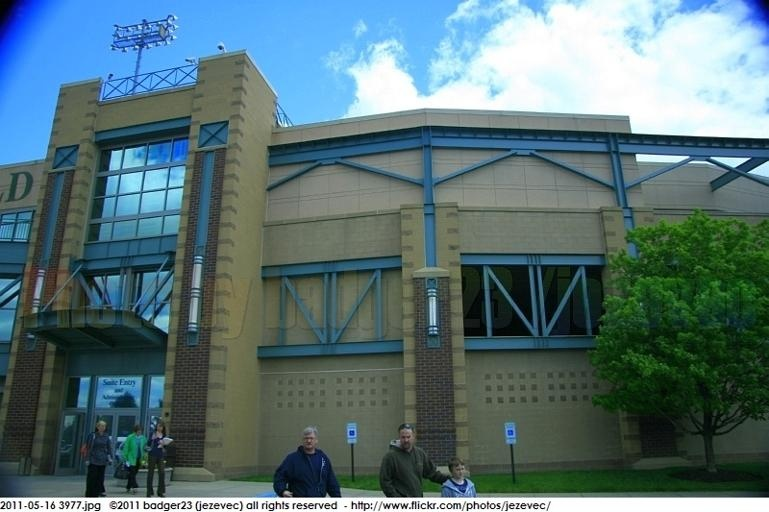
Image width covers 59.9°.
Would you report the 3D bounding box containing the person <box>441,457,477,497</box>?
[{"bbox_3d":[2.110,6.450,19.427,0.898,1.065,0.580,-3,-21,2],"label":"person"}]
